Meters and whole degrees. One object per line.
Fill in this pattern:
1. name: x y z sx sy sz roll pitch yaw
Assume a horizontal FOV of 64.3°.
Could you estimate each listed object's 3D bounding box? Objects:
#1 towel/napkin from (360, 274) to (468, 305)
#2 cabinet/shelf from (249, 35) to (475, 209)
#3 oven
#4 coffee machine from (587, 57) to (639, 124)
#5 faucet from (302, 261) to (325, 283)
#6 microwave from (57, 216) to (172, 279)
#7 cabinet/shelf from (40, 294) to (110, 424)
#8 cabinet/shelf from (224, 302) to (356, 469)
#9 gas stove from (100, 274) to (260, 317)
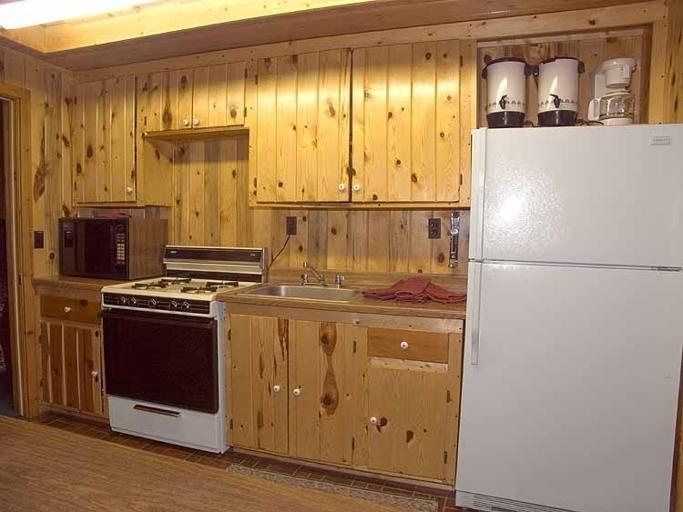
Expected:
1. towel/napkin: 0.443 0.204 3.353 0.620 0.118 0.372 1 3 7
2. cabinet/shelf: 0.187 -0.862 3.447 1.203 0.818 0.419 0 3 14
3. oven: -1.081 0.742 3.786 0.982 0.977 0.753 4 8 29
4. coffee machine: 1.530 -0.912 3.075 0.221 0.431 0.514 3 4 27
5. faucet: -0.188 0.114 3.785 0.154 0.147 0.189 1 3 -4
6. microwave: -1.689 -0.054 3.996 0.688 0.449 0.470 1 4 18
7. cabinet/shelf: -1.863 0.719 4.092 0.609 0.845 0.550 8 10 14
8. cabinet/shelf: -0.226 0.792 3.443 0.999 0.912 0.371 2 4 25
9. gas stove: -1.077 0.293 3.662 0.900 0.220 0.605 2 5 19
